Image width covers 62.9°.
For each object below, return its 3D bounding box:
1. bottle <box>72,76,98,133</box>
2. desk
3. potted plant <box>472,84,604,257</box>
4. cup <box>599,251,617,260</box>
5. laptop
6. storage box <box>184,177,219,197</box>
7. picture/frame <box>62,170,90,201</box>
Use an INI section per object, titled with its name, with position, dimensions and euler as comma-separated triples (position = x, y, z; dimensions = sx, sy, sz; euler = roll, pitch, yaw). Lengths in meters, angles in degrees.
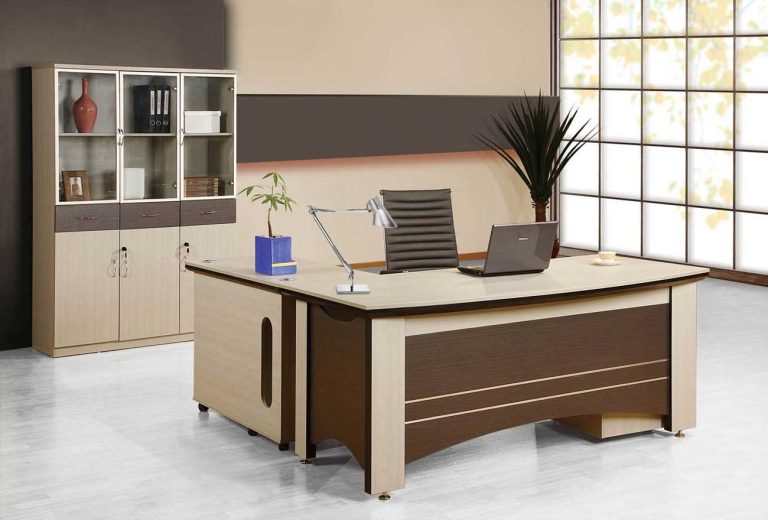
[bottle]
position = -2.789, -1.441, 5.859
dimensions = 0.198, 0.513, 0.060
euler = -9, 14, -38
[desk]
position = 0.048, 0.688, 4.195
dimensions = 2.101, 0.799, 1.759
euler = -2, 4, -33
[potted plant]
position = 2.416, -1.379, 9.742
dimensions = 1.542, 2.355, 1.448
euler = 4, 11, 25
[cup]
position = 1.678, -0.035, 4.712
dimensions = 0.163, 0.075, 0.149
euler = 0, 4, 0
[laptop]
position = 0.873, -0.107, 4.271
dimensions = 0.479, 0.276, 0.456
euler = -3, 6, -24
[storage box]
position = -1.852, -0.750, 6.407
dimensions = 0.367, 0.213, 0.202
euler = -3, 12, -26
[picture/frame]
position = -2.880, -0.695, 5.853
dimensions = 0.323, 0.369, 0.031
euler = -1, -4, -35
